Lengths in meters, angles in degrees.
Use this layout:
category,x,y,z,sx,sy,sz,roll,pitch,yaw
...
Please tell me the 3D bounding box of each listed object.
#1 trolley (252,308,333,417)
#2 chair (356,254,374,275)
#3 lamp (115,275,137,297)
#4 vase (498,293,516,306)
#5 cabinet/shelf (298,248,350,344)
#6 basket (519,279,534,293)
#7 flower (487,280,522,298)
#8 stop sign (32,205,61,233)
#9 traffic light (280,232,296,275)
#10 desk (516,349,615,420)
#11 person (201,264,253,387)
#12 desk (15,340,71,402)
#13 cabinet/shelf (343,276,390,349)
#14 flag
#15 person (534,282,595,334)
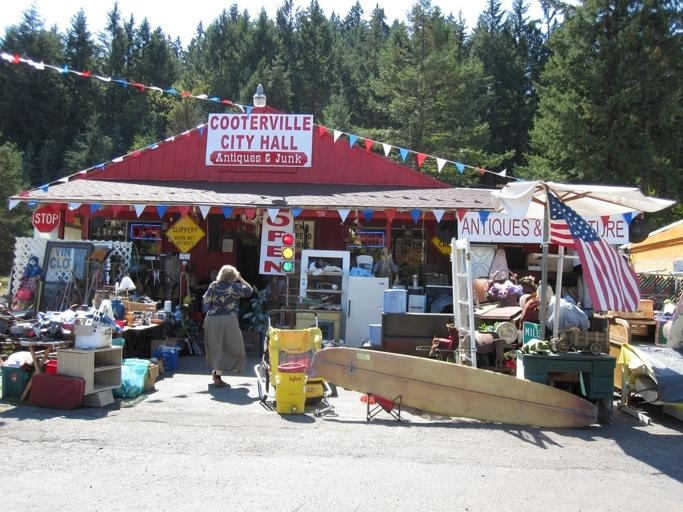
category,x,y,z,sx,sy,sz,roll,pitch,yaw
trolley,-0.722,1.813,10.972,1.382,1.717,2.081,2,-4,-23
chair,0.554,0.223,14.886,0.323,0.605,0.422,-1,5,2
lamp,-4.455,0.652,13.090,0.411,0.448,0.418,4,6,39
vase,3.367,0.903,12.859,0.251,0.216,0.210,-3,-4,28
cabinet/shelf,-0.348,1.165,14.410,1.207,2.503,1.316,1,-15,12
basket,4.122,0.672,14.089,0.304,0.112,0.382,-3,20,8
flower,3.267,0.695,12.955,0.375,0.261,0.489,3,-4,-27
stop sign,-7.469,-0.952,16.104,0.598,0.711,0.086,-1,0,-2
traffic light,-1.215,-0.064,14.296,0.290,1.037,0.134,2,-24,-7
desk,3.532,1.672,10.051,1.372,1.200,1.008,0,-3,1
person,-2.037,1.251,11.197,0.779,2.124,0.548,-1,10,-14
desk,-4.656,1.799,10.204,0.716,1.102,1.058,0,-1,-5
cabinet/shelf,0.534,1.290,14.012,0.818,1.320,0.906,2,-2,1
flag,3.785,0.001,9.528,1.336,1.568,0.769,7,11,28
person,3.746,0.864,10.570,0.699,0.384,0.985,1,0,1
